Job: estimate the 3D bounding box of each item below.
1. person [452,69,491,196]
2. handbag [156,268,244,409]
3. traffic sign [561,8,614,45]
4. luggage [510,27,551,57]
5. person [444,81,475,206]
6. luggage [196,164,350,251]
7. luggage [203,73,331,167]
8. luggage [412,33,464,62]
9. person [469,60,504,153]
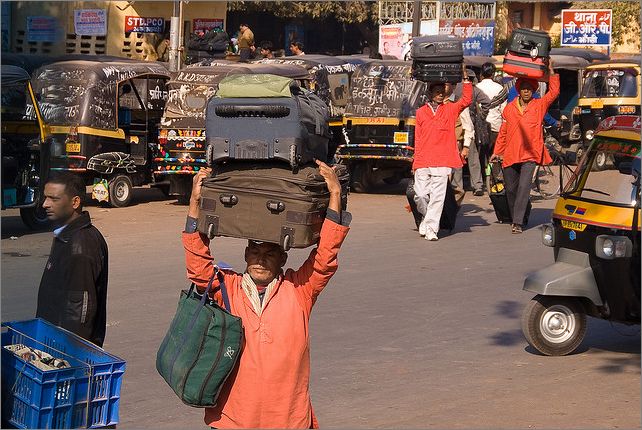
[{"bbox_3d":[3.300,-1.697,15.294,0.874,3.089,1.126,1,3,14],"label":"person"},{"bbox_3d":[-0.668,0.702,4.027,0.619,0.665,0.486,-11,22,-30],"label":"handbag"},{"bbox_3d":[12.012,-8.557,32.032,2.060,1.540,0.888,4,11,15],"label":"traffic sign"},{"bbox_3d":[3.399,-2.814,11.466,0.621,0.444,0.478,13,22,16],"label":"luggage"},{"bbox_3d":[2.910,-1.564,14.487,0.838,3.153,0.848,0,-1,3],"label":"person"},{"bbox_3d":[-0.342,-0.068,4.063,0.740,0.436,0.312,5,12,17],"label":"luggage"},{"bbox_3d":[-0.324,-0.545,4.137,0.729,0.505,0.413,1,11,-2],"label":"luggage"},{"bbox_3d":[1.929,-2.645,11.499,0.830,0.432,0.688,-4,3,7],"label":"luggage"},{"bbox_3d":[3.736,-2.388,15.542,0.654,1.928,0.719,-1,-4,-7],"label":"person"}]
